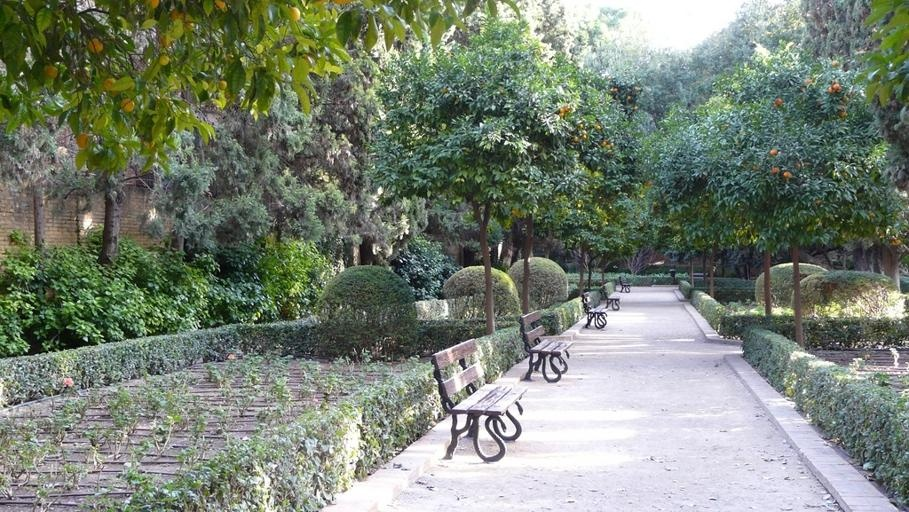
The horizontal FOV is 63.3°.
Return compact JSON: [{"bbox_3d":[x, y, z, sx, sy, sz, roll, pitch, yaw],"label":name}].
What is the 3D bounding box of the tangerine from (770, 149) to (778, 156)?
[{"bbox_3d":[6.021,-1.940,13.863,0.126,0.119,0.130,3,13,44],"label":"tangerine"}]
